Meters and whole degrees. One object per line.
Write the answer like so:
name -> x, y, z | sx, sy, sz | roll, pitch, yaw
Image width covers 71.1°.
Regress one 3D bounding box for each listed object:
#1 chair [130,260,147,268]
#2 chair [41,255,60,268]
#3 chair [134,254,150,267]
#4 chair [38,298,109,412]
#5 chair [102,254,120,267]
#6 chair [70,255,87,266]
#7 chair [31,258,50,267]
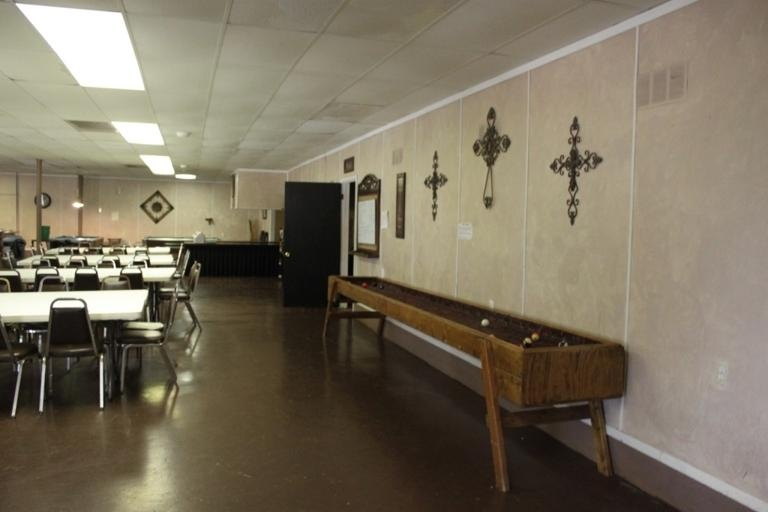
chair -> -4.017, 0.133, 8.760 | 0.131, 0.150, 0.169 | -2, 4, -45
chair -> -5.327, 0.093, 8.543 | 0.240, 0.324, 0.238 | 0, 0, 42
chair -> -4.228, 0.081, 9.336 | 0.213, 0.204, 0.212 | 1, 10, -13
chair -> -3.137, 0.908, 5.354 | 0.602, 1.122, 0.885 | -4, 10, -32
chair -> -4.711, 0.081, 9.217 | 0.229, 0.173, 0.169 | 1, 7, -10
chair -> -5.035, 0.069, 8.805 | 0.191, 0.138, 0.141 | 2, 5, -7
chair -> -5.461, 0.109, 8.520 | 0.138, 0.190, 0.135 | 1, 6, -18
